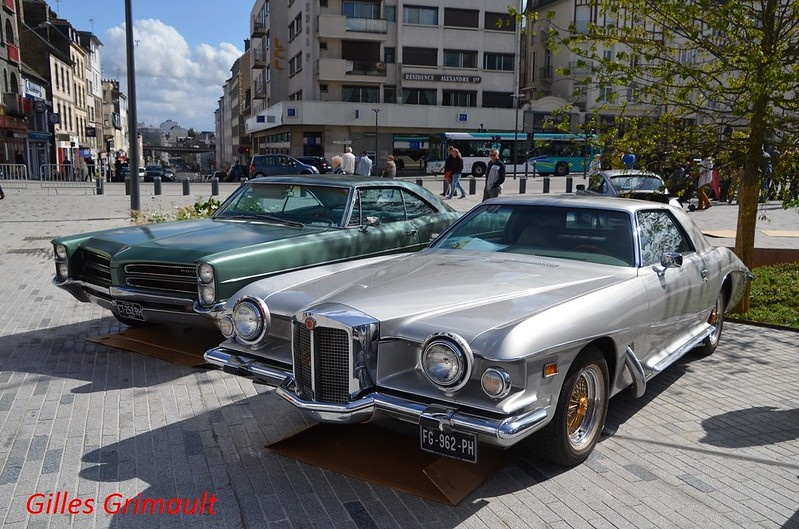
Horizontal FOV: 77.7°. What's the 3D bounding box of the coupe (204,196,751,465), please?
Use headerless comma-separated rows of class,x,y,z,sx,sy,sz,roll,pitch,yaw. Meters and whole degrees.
coupe,0.867,0.429,4.567,4.619,1.943,2.299,-8,16,-34

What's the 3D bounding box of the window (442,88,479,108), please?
window,6.185,-17.984,52.114,3.288,2.359,1.821,0,18,-6

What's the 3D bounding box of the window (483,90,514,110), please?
window,10.240,-17.340,52.372,2.404,1.350,0.355,0,12,-7

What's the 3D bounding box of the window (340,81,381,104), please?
window,-3.860,-17.132,49.859,3.757,1.608,0.621,-1,13,-6

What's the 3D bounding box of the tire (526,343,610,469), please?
tire,1.358,1.097,3.952,0.279,0.910,0.909,5,-15,45
